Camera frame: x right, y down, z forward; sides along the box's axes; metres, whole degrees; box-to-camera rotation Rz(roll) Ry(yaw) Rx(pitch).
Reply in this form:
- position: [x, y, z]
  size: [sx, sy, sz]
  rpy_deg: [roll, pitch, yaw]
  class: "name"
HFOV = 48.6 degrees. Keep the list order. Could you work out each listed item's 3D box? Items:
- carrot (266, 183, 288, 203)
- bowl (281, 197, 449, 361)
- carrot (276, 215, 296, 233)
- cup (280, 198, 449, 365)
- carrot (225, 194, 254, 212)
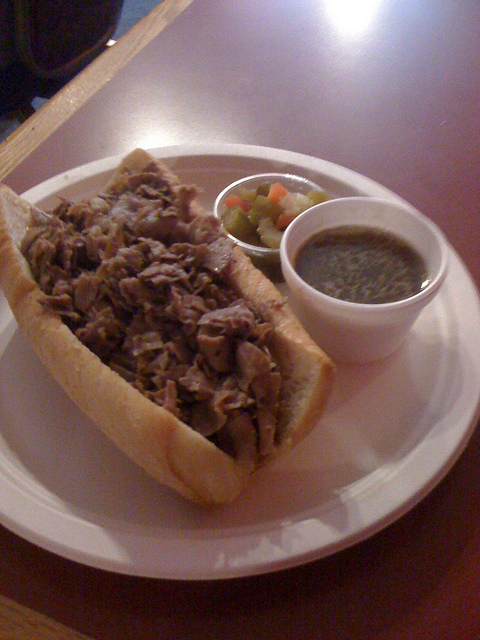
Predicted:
- position: [0.096, -0.348, 1.481]
  size: [0.053, 0.054, 0.055]
  rpy_deg: [16, -1, -23]
  class: "carrot"
- position: [0.272, -0.071, 1.419]
  size: [0.421, 0.304, 0.404]
  rpy_deg: [-2, 52, 3]
  class: "bowl"
- position: [0.123, -0.256, 1.433]
  size: [0.042, 0.041, 0.013]
  rpy_deg: [35, 43, 24]
  class: "carrot"
- position: [0.297, -0.073, 1.422]
  size: [0.435, 0.298, 0.416]
  rpy_deg: [-2, 50, 2]
  class: "cup"
- position: [-0.001, -0.344, 1.525]
  size: [0.063, 0.020, 0.060]
  rpy_deg: [4, 61, 16]
  class: "carrot"
